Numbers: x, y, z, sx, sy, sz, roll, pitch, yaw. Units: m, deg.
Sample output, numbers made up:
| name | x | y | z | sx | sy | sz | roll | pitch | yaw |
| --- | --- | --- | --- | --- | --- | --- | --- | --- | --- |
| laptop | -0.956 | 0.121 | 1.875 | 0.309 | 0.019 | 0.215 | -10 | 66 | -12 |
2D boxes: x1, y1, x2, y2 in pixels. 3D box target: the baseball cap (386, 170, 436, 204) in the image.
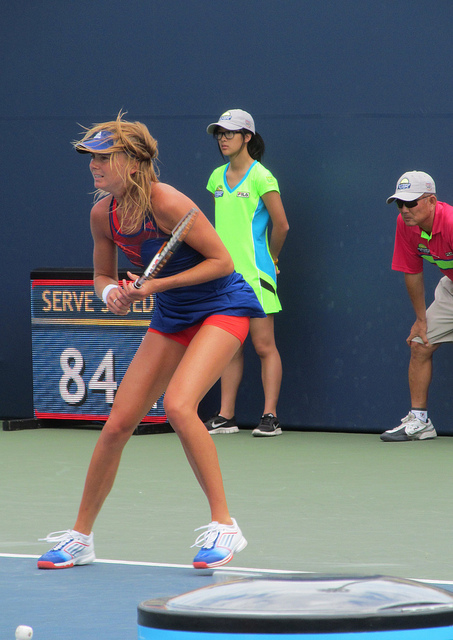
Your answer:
| name | x | y | z | sx | sy | sz | roll | pitch | yaw |
| --- | --- | --- | --- | --- | --- | --- | --- | --- | --- |
| baseball cap | 1.247 | -0.903 | 5.238 | 0.304 | 0.158 | 0.198 | -18 | 16 | -38 |

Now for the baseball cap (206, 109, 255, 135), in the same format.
| name | x | y | z | sx | sy | sz | roll | pitch | yaw |
| --- | --- | --- | --- | --- | --- | --- | --- | --- | --- |
| baseball cap | 0.035 | -1.461 | 5.675 | 0.312 | 0.148 | 0.213 | 5 | -3 | -36 |

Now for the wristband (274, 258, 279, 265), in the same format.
| name | x | y | z | sx | sy | sz | roll | pitch | yaw |
| --- | --- | --- | --- | --- | --- | --- | --- | --- | --- |
| wristband | 0.377 | -0.443 | 5.908 | 0.038 | 0.039 | 0.042 | -6 | 19 | 6 |

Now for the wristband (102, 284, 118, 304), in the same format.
| name | x | y | z | sx | sy | sz | roll | pitch | yaw |
| --- | --- | --- | --- | --- | --- | --- | --- | --- | --- |
| wristband | -0.435 | -0.094 | 2.783 | 0.057 | 0.065 | 0.069 | 14 | 5 | -16 |

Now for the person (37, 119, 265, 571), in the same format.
| name | x | y | z | sx | sy | sz | roll | pitch | yaw |
| --- | --- | --- | --- | --- | --- | --- | --- | --- | --- |
| person | -0.294 | 0.118 | 2.905 | 0.855 | 1.681 | 0.929 | -1 | 7 | 4 |

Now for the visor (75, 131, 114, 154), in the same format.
| name | x | y | z | sx | sy | sz | roll | pitch | yaw |
| --- | --- | --- | --- | --- | --- | --- | --- | --- | --- |
| visor | -0.445 | -0.607 | 2.608 | 0.128 | 0.057 | 0.075 | -22 | 21 | -29 |
